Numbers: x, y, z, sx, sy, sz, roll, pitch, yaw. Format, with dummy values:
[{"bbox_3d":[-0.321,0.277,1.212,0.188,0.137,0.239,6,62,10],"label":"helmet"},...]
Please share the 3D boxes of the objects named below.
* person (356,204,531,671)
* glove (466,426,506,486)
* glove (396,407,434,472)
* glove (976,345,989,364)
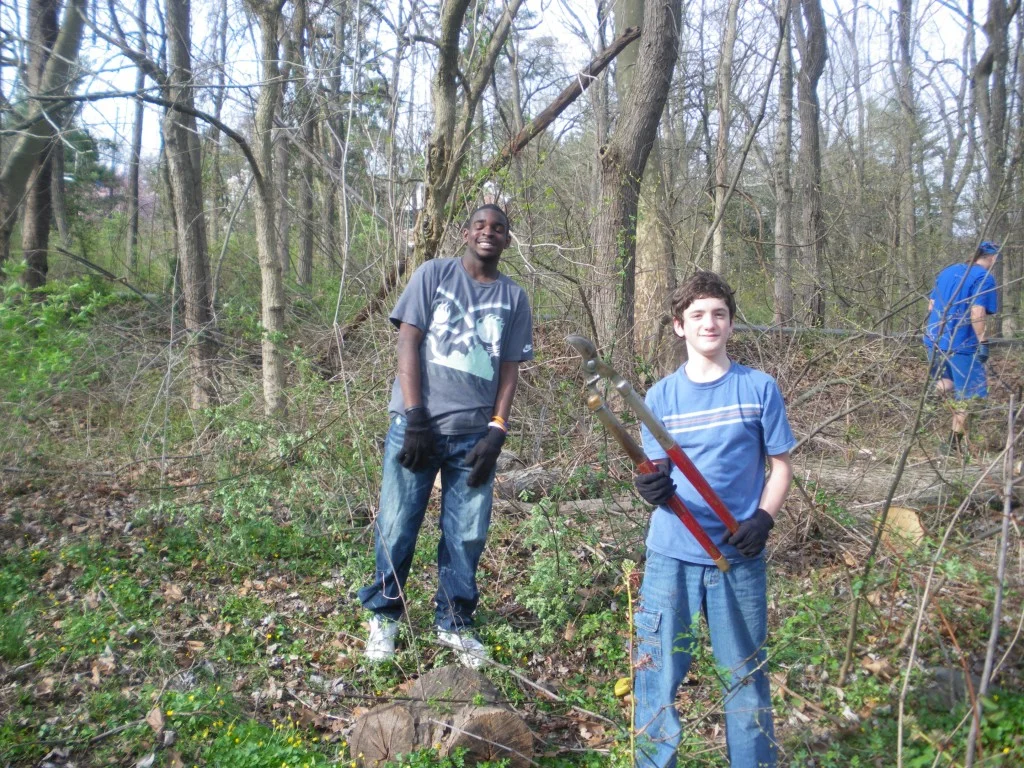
[{"bbox_3d":[-0.394,0.319,5.741,0.902,3.058,0.619,5,6,-16],"label":"person"},{"bbox_3d":[-0.167,0.470,5.594,0.248,0.400,0.128,2,4,-5],"label":"glove"},{"bbox_3d":[-0.599,0.360,5.483,0.227,0.383,0.124,5,-2,-6],"label":"glove"},{"bbox_3d":[4.492,-0.277,8.265,0.042,0.185,0.192,9,45,16],"label":"glove"}]
